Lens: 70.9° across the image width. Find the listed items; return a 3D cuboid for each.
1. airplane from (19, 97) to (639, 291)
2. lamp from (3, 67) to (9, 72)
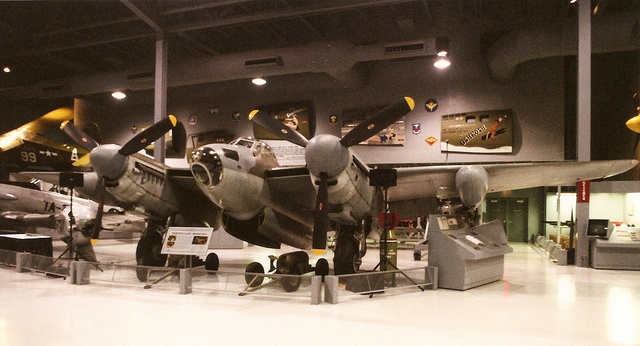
[{"bbox_3d":[-0.644,0.776,14.144,14.807,5.226,3.871,-1,-10,8],"label":"airplane"},{"bbox_3d":[-14.196,-4.663,20.278,0.194,0.165,0.332,-1,-3,-27],"label":"lamp"}]
